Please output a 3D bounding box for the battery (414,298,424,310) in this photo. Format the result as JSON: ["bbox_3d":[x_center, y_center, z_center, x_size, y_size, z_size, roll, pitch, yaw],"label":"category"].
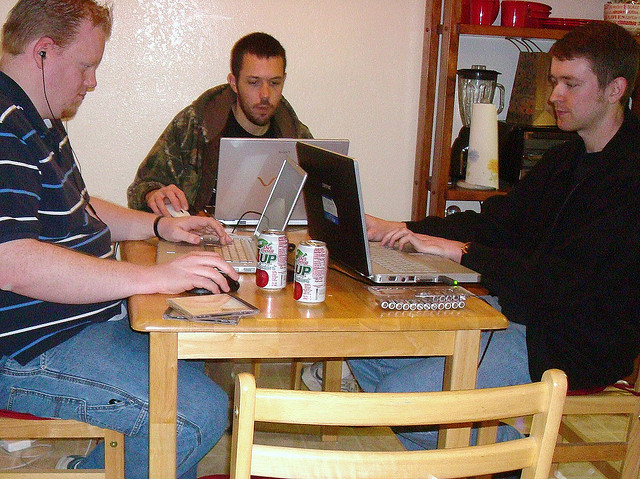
[{"bbox_3d":[0.269,0.176,1.364,0.007,0.023,0.017,-22,0,-13],"label":"battery"}]

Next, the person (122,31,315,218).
[{"bbox_3d":[-0.540,-0.568,2.429,0.767,0.970,0.562,9,27,-32],"label":"person"}]

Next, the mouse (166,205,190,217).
[{"bbox_3d":[-0.598,-0.121,2.125,0.059,0.017,0.246,-47,29,-22],"label":"mouse"}]

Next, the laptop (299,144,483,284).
[{"bbox_3d":[0.200,-0.115,1.712,0.455,0.371,0.642,-2,13,-12],"label":"laptop"}]

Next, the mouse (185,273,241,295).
[{"bbox_3d":[-0.290,0.112,1.396,0.102,0.034,0.058,-7,23,-27],"label":"mouse"}]
